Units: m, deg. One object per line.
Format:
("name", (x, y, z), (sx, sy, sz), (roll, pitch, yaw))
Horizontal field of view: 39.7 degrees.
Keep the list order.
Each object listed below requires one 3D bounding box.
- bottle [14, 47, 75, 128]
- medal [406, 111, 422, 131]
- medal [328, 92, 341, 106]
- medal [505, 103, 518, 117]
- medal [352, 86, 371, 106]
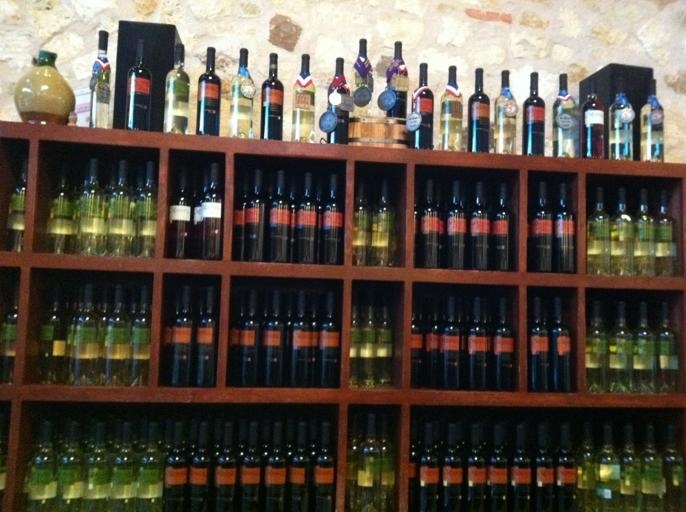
("bottle", (-1.333, -0.712, 4.254), (0.255, 0.285, 0.332), (4, 43, -12))
("medal", (0.321, -0.606, 4.284), (0.066, 0.081, 0.082), (-1, 85, 10))
("medal", (-0.032, -0.709, 4.272), (0.057, 0.032, 0.056), (16, 42, 2))
("medal", (0.776, -0.677, 4.375), (0.055, 0.042, 0.057), (-7, 41, 23))
("medal", (0.087, -0.727, 4.322), (0.097, 0.024, 0.099), (0, 83, 10))
